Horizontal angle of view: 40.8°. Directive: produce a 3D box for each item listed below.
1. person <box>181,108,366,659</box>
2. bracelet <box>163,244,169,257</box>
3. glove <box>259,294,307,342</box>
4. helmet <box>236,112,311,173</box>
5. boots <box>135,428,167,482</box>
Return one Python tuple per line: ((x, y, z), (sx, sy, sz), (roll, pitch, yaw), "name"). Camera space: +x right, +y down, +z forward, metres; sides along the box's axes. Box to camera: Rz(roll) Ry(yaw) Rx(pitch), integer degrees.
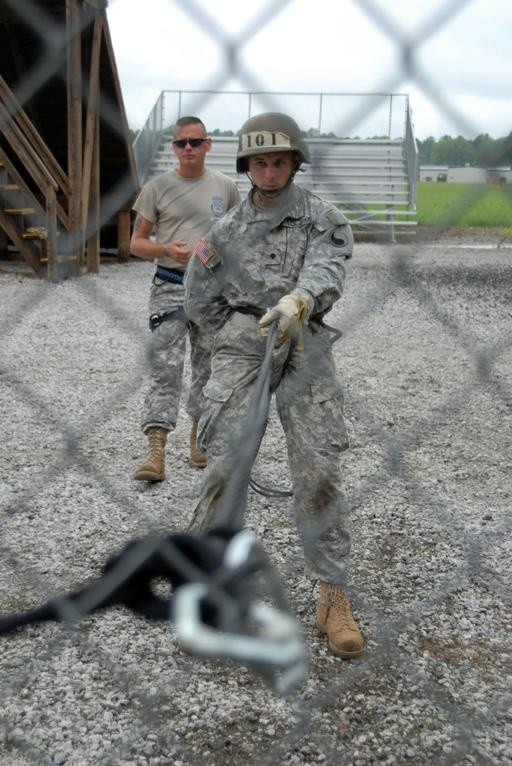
((0.099, 0.008, 2.135), (0.646, 1.187, 0.770), (6, 3, -14), "person")
((-0.437, -0.642, 3.343), (0.027, 0.059, 0.066), (-8, 34, 2), "bracelet")
((0.067, -0.160, 1.700), (0.088, 0.059, 0.143), (-2, 22, 10), "glove")
((0.056, -0.704, 2.049), (0.228, 0.154, 0.225), (0, 24, 11), "helmet")
((-0.510, 0.356, 3.338), (0.124, 0.249, 0.274), (-1, -6, 5), "boots")
